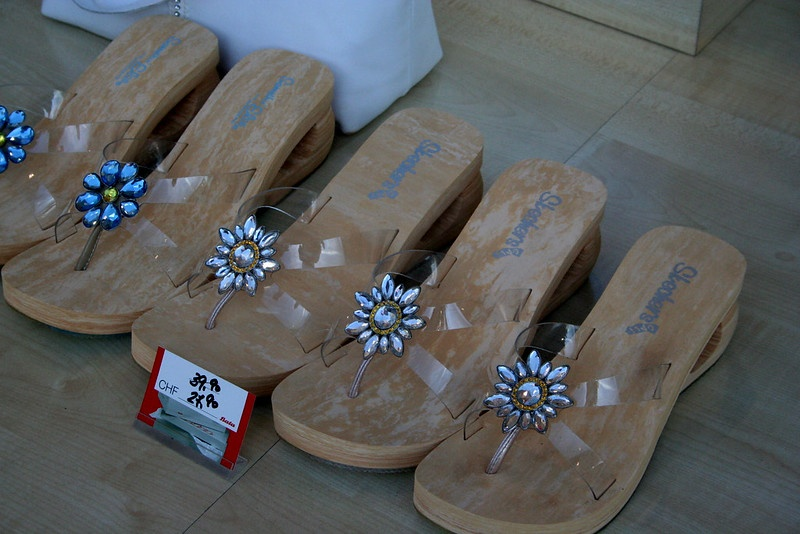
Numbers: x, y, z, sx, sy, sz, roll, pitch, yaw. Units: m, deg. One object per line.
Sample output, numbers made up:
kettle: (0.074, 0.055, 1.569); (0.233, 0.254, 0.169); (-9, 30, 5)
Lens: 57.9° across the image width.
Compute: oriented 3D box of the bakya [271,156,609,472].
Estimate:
bakya: (0.163, 0.161, 1.652); (0.387, 0.251, 0.892); (34, 65, 33)

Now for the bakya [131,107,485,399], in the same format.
bakya: (-0.211, -0.013, 1.606); (0.308, 0.260, 0.844); (24, 51, 31)

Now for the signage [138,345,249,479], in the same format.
signage: (-0.399, 0.274, 1.424); (0.233, 0.173, 0.075); (24, 33, 10)
